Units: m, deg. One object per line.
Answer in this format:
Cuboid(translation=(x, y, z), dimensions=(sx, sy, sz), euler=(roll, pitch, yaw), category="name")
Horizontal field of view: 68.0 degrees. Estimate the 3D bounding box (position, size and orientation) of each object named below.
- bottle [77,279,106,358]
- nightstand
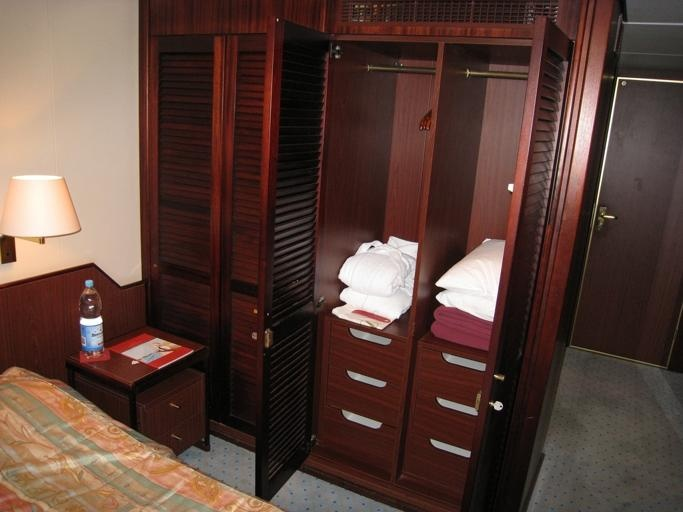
Cuboid(translation=(-1.337, 0.310, 2.695), dimensions=(0.125, 0.429, 0.229), euler=(-4, 20, -26), category="bottle")
Cuboid(translation=(-1.106, 0.856, 2.889), dimensions=(0.523, 0.691, 0.569), euler=(18, 22, 36), category="nightstand")
